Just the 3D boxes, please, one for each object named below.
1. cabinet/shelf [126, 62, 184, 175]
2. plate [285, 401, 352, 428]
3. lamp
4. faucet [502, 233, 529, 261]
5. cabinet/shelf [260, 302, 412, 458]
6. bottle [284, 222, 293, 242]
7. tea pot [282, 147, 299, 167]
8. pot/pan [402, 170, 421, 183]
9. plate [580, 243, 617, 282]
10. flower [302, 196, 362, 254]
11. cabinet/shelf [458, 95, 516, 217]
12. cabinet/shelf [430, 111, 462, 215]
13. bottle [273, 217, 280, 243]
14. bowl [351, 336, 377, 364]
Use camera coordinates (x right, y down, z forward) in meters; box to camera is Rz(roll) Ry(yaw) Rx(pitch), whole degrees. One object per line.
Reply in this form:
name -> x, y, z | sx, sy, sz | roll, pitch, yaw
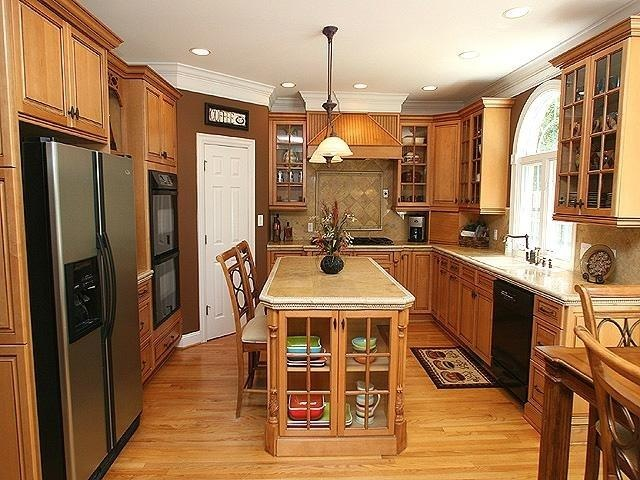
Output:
cabinet/shelf -> -1.585, -1.111, 4.417 | 0.252, 0.979, 0.831 | 2, 14, 7
plate -> 0.011, 1.254, 3.340 | 0.339, 0.044, 0.217 | 0, 8, 1
lamp -> 0.077, -1.211, 3.869 | 0.375, 1.086, 0.371 | 0, 5, 8
faucet -> 2.098, 0.041, 4.937 | 0.293, 0.285, 0.212 | 2, 1, 6
cabinet/shelf -> 0.105, 0.990, 3.282 | 1.170, 1.157, 0.462 | 0, 6, -2
bottle -> -0.439, -0.118, 6.334 | 0.113, 0.223, 0.175 | -1, 14, -5
tea pot -> -0.384, -1.078, 5.997 | 0.245, 0.220, 0.175 | -2, 11, -10
pot/pan -> 1.211, -0.840, 6.155 | 0.191, 0.109, 0.186 | -5, 8, -40
plate -> 2.293, 0.191, 3.829 | 0.077, 0.277, 0.283 | 0, 21, -37
flower -> 0.098, 0.029, 3.981 | 0.367, 0.460, 0.344 | 5, -7, -36
cabinet/shelf -> 1.927, -0.982, 5.430 | 0.379, 1.284, 0.721 | -1, 15, -5
cabinet/shelf -> 1.604, -1.002, 5.941 | 0.398, 1.216, 0.099 | 8, 20, 31
bottle -> -0.597, -0.161, 6.282 | 0.114, 0.324, 0.314 | -1, 14, -5
bowl -> 0.297, 0.774, 3.302 | 0.163, 0.173, 0.199 | 0, 1, -26
